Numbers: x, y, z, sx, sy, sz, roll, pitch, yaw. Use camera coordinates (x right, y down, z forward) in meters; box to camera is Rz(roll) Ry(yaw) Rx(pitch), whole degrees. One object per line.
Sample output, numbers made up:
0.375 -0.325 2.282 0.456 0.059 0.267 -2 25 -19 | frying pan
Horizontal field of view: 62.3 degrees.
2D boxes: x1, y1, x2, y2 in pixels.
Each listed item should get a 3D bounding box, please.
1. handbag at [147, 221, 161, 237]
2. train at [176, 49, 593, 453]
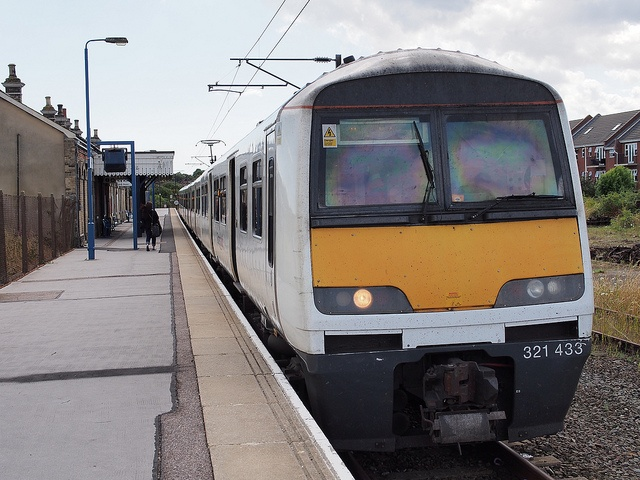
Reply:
-7.434 -0.443 23.862 0.533 0.899 0.441 0 -6 -39 | handbag
1.095 0.100 4.836 2.662 3.615 0.872 -3 4 -16 | train
